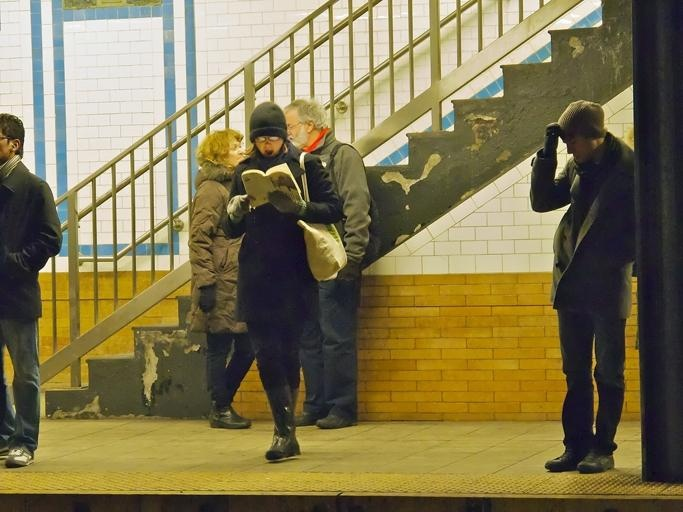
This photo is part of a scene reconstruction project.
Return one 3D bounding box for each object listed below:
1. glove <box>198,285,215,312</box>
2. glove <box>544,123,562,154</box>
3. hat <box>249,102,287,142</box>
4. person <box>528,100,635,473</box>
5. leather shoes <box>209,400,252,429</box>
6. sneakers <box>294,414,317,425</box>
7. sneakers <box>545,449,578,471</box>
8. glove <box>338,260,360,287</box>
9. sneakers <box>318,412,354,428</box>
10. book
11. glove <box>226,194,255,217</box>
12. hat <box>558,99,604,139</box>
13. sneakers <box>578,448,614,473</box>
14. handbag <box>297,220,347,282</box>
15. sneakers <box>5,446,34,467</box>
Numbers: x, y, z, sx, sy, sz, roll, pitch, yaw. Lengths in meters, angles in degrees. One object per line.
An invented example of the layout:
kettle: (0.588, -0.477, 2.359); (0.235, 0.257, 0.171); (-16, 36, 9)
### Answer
glove: (-1.043, 0.326, 12.516); (0.133, 0.211, 0.081); (-1, -4, 3)
glove: (1.423, -0.808, 10.979); (0.057, 0.183, 0.133); (11, 10, -9)
hat: (-0.520, -0.960, 11.268); (0.222, 0.228, 0.283); (1, 1, -1)
person: (1.656, 0.203, 10.955); (0.687, 2.521, 0.428); (-1, -4, 7)
leather shoes: (-0.870, 1.265, 12.596); (0.301, 0.140, 0.155); (-1, -3, 14)
sneakers: (-0.279, 1.274, 12.586); (0.145, 0.051, 0.080); (2, 0, -6)
sneakers: (1.520, 1.411, 11.044); (0.276, 0.121, 0.100); (-5, -3, -6)
glove: (0.052, 0.124, 12.262); (0.136, 0.182, 0.101); (32, 1, -9)
sneakers: (-0.043, 1.280, 12.531); (0.274, 0.098, 0.100); (5, -18, -23)
book: (-0.480, -0.495, 11.059); (0.398, 0.261, 0.229); (-1, -4, -3)
glove: (-0.709, -0.357, 11.240); (0.170, 0.128, 0.072); (-35, -4, 43)
hat: (1.627, -0.940, 10.904); (0.225, 0.257, 0.293); (-3, 14, 6)
sneakers: (1.724, 1.404, 10.894); (0.277, 0.128, 0.110); (1, -7, -24)
handbag: (-0.150, -0.042, 11.351); (0.184, 0.451, 0.384); (-24, 0, 22)
sneakers: (-2.286, 1.430, 11.461); (0.215, 0.144, 0.127); (1, -5, -25)
